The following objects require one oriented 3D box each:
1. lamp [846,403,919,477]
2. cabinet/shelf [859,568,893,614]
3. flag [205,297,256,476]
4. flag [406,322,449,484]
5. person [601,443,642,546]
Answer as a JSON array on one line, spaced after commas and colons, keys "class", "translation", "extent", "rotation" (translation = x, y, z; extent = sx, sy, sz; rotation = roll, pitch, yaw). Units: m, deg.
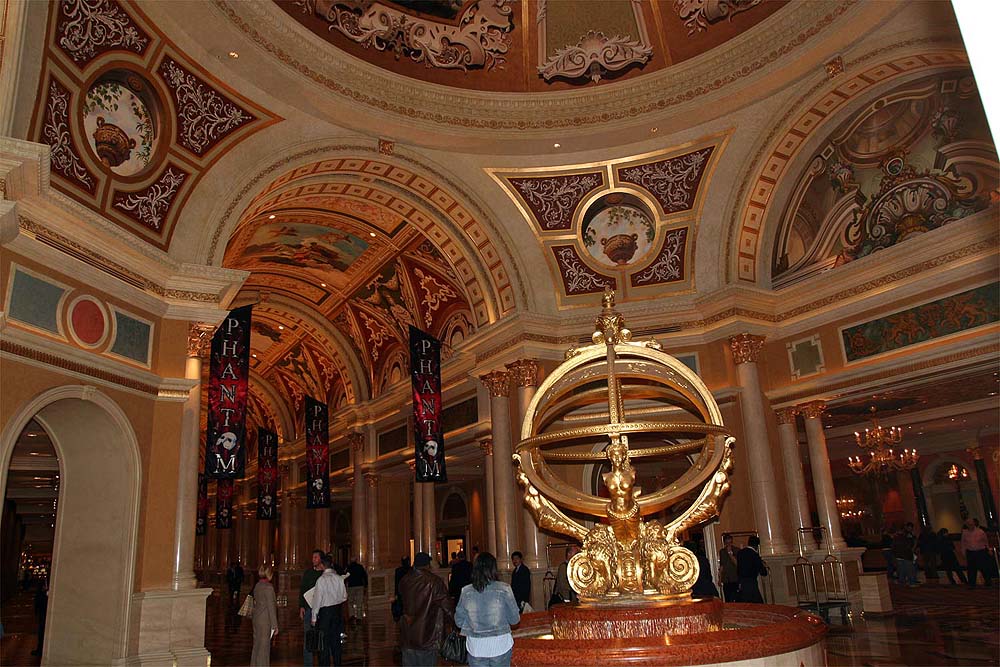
[{"class": "lamp", "translation": [9.891, 2.709, 18.152], "extent": [1.480, 2.031, 1.408], "rotation": [15, -24, -38]}, {"class": "cabinet/shelf", "translation": [7.613, 5.241, 14.121], "extent": [0.729, 1.010, 0.729], "rotation": [-10, -17, 23]}, {"class": "flag", "translation": [-4.983, 0.999, 12.661], "extent": [0.888, 3.257, 0.571], "rotation": [18, -32, -37]}, {"class": "flag", "translation": [-1.690, 1.557, 15.549], "extent": [0.572, 3.405, 1.087], "rotation": [-12, -27, 19]}, {"class": "person", "translation": [1.290, 1.690, 7.405], "extent": [0.356, 1.034, 0.462], "rotation": [-6, -25, 7]}]
